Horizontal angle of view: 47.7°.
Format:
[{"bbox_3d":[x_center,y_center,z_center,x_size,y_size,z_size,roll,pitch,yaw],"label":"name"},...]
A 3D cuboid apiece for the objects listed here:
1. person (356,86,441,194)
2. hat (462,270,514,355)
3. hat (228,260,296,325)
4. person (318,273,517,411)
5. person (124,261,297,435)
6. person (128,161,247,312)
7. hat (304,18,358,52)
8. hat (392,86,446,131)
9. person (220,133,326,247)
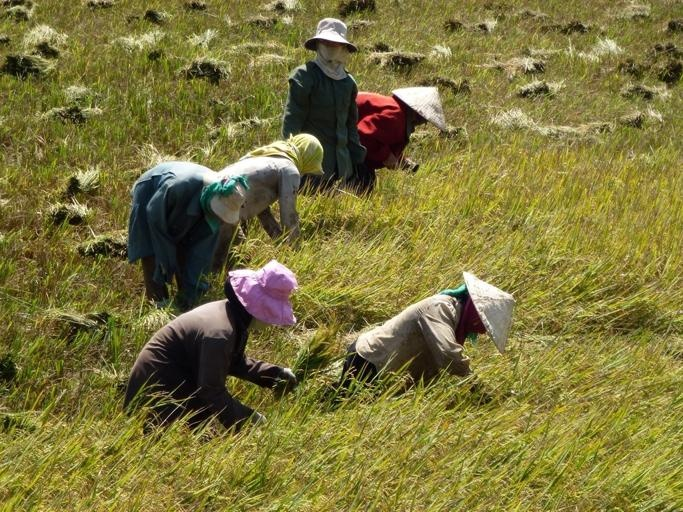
[{"bbox_3d":[0.601,-1.224,8.305,0.866,1.025,0.704,22,20,-18],"label":"person"},{"bbox_3d":[1.158,0.375,5.691,0.166,0.454,0.626,11,46,3],"label":"hat"},{"bbox_3d":[-0.439,0.185,5.282,0.457,0.280,0.493,3,27,24],"label":"hat"},{"bbox_3d":[0.602,0.591,5.712,1.341,0.758,0.800,-23,-15,14],"label":"person"},{"bbox_3d":[-0.896,0.678,5.387,0.710,1.101,0.472,24,10,-30],"label":"person"},{"bbox_3d":[-1.274,-0.165,6.305,0.933,1.285,0.714,12,19,10],"label":"person"},{"bbox_3d":[-0.063,-2.177,7.607,0.428,0.276,0.334,9,23,-2],"label":"hat"},{"bbox_3d":[0.890,-1.603,8.137,0.774,0.309,0.396,30,30,35],"label":"hat"},{"bbox_3d":[-0.571,-0.602,6.594,0.435,0.672,1.413,4,23,36],"label":"person"}]
